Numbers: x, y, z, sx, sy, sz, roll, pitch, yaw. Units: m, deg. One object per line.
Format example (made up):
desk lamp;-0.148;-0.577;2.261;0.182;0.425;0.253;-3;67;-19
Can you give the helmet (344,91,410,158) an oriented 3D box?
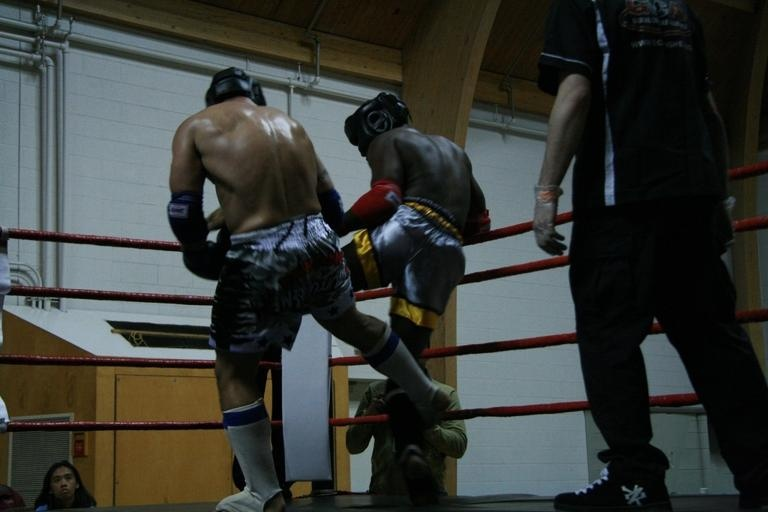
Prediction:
helmet;-0.035;-0.731;4.700;0.362;0.332;0.289;-3;-13;4

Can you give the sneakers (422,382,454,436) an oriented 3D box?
sneakers;0.297;0.717;4.206;0.106;0.265;0.261;-5;0;-26

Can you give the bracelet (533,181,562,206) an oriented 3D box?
bracelet;0.738;-0.282;3.837;0.099;0.084;0.093;1;-3;34
